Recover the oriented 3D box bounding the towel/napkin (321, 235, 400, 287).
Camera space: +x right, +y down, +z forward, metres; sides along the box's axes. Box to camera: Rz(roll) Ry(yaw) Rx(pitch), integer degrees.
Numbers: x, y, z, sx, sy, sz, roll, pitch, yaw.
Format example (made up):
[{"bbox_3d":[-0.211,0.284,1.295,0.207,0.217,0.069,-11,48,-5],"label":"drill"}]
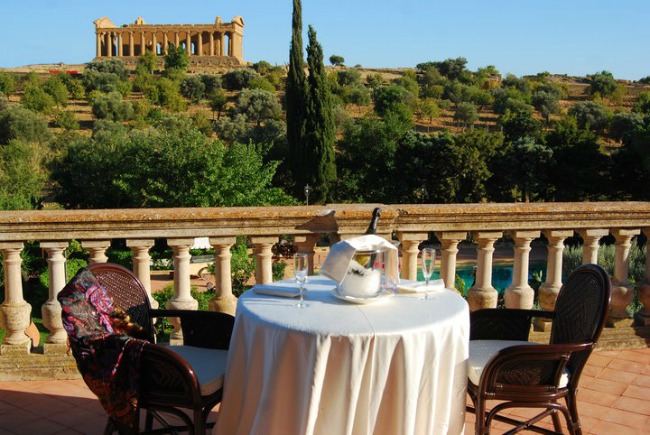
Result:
[{"bbox_3d":[1.517,1.910,48.978,3.134,2.050,2.331,-2,4,-29],"label":"towel/napkin"}]
